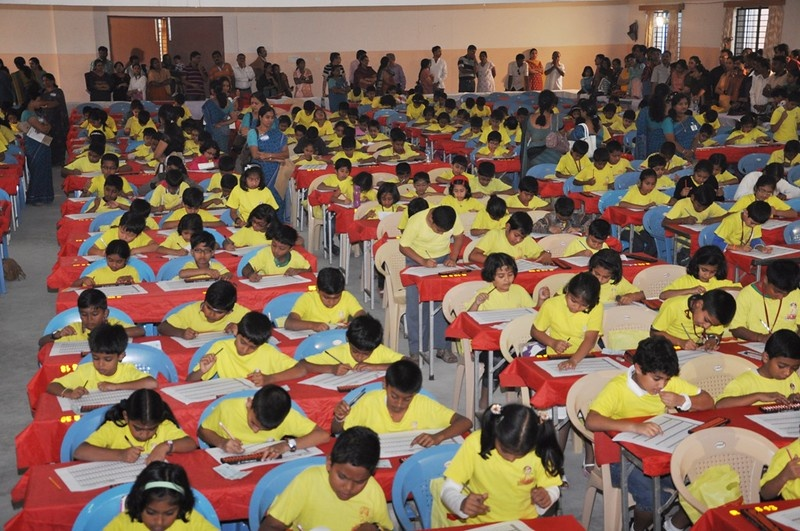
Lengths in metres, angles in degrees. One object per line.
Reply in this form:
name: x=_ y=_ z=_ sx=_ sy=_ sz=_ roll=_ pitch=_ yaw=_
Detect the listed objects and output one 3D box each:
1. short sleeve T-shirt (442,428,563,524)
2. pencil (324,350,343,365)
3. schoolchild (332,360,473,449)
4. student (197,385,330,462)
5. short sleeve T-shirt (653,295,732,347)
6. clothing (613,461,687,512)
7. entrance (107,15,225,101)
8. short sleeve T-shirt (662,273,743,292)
short sleeve T-shirt: x=0.601 y=1.238 z=4.045 sx=0.470 sy=0.454 sz=0.334 roll=17 pitch=10 yaw=-7
pencil: x=-0.503 y=0.699 z=5.258 sx=0.136 sy=0.020 sz=0.019 roll=40 pitch=57 yaw=6
schoolchild: x=-0.043 y=0.975 z=4.787 sx=0.873 sy=0.536 sz=1.019 roll=-2 pitch=-30 yaw=-8
student: x=-0.893 y=1.015 z=4.448 sx=0.489 sy=0.192 sz=0.625 roll=-12 pitch=16 yaw=-28
short sleeve T-shirt: x=2.283 y=0.432 z=5.398 sx=0.303 sy=0.279 sz=0.521 roll=6 pitch=-20 yaw=-8
clothing: x=1.602 y=1.472 z=4.610 sx=0.346 sy=0.273 sz=0.350 roll=8 pitch=22 yaw=23
entrance: x=-6.925 y=-6.219 z=20.794 sx=3.267 sy=2.879 sz=0.281 roll=0 pitch=15 yaw=3
short sleeve T-shirt: x=2.665 y=0.158 z=6.037 sx=0.722 sy=0.150 sz=0.329 roll=0 pitch=13 yaw=-4
